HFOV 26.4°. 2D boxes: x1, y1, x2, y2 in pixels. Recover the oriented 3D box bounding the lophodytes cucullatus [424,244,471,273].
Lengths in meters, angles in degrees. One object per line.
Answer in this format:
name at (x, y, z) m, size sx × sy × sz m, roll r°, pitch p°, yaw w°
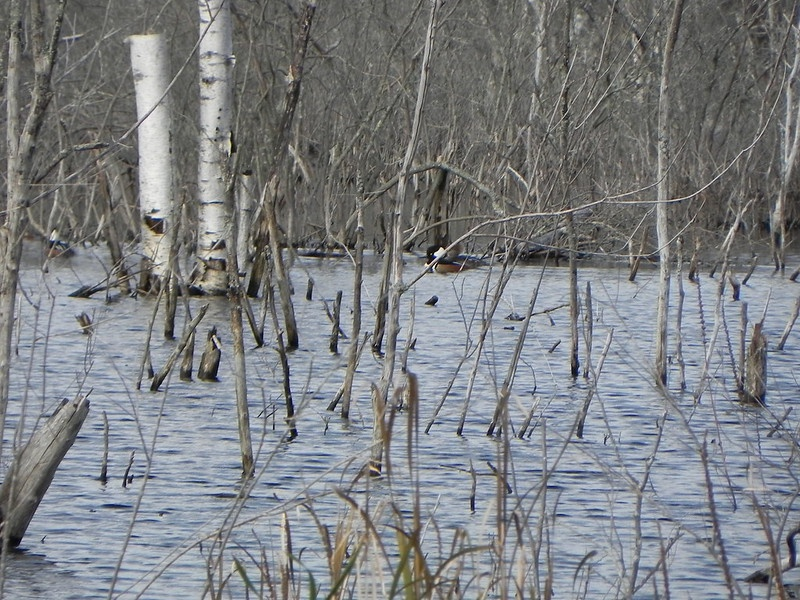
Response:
lophodytes cucullatus at (0.566, -0.529, 23.657) m, size 1.018 × 0.462 × 0.284 m, roll 2°, pitch 2°, yaw -42°
